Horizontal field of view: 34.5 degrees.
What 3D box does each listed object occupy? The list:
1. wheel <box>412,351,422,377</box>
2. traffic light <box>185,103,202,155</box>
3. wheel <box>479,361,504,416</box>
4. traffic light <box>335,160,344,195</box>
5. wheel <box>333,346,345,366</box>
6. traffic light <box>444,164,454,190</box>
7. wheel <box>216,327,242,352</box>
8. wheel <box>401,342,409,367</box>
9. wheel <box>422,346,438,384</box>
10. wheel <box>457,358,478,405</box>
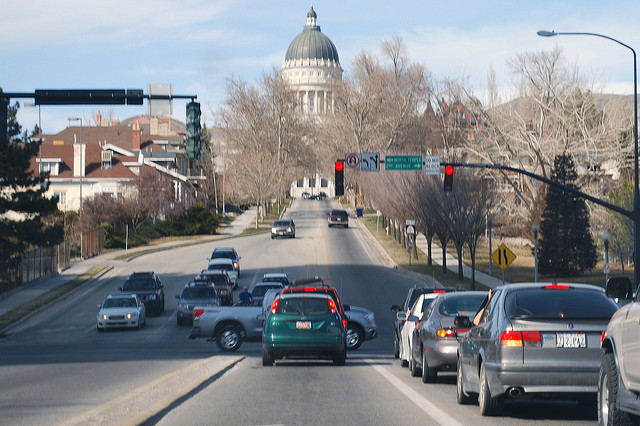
[{"bbox_3d":[3.329,5.254,35.598,0.341,0.777,0.328,-1,3,0],"label":"wheel"},{"bbox_3d":[-4.636,-3.062,37.578,0.493,1.873,1.336,-2,4,-9],"label":"traffic light"},{"bbox_3d":[5.083,5.167,30.488,0.410,1.667,1.454,1,1,0],"label":"wheel"},{"bbox_3d":[1.009,-1.873,55.085,0.388,1.810,1.255,-1,4,-5],"label":"traffic light"},{"bbox_3d":[0.667,5.077,37.270,0.333,0.783,0.710,0,0,6],"label":"wheel"},{"bbox_3d":[6.694,-1.832,53.988,0.410,1.209,1.051,-1,4,9],"label":"traffic light"},{"bbox_3d":[-3.825,5.212,42.990,0.776,1.017,0.306,-1,-1,1],"label":"wheel"},{"bbox_3d":[3.111,5.213,38.045,0.270,1.015,0.885,1,0,-1],"label":"wheel"},{"bbox_3d":[3.646,5.029,34.256,0.312,1.249,1.087,2,2,-2],"label":"wheel"},{"bbox_3d":[4.533,5.260,32.051,0.696,1.271,0.548,0,4,27],"label":"wheel"}]
